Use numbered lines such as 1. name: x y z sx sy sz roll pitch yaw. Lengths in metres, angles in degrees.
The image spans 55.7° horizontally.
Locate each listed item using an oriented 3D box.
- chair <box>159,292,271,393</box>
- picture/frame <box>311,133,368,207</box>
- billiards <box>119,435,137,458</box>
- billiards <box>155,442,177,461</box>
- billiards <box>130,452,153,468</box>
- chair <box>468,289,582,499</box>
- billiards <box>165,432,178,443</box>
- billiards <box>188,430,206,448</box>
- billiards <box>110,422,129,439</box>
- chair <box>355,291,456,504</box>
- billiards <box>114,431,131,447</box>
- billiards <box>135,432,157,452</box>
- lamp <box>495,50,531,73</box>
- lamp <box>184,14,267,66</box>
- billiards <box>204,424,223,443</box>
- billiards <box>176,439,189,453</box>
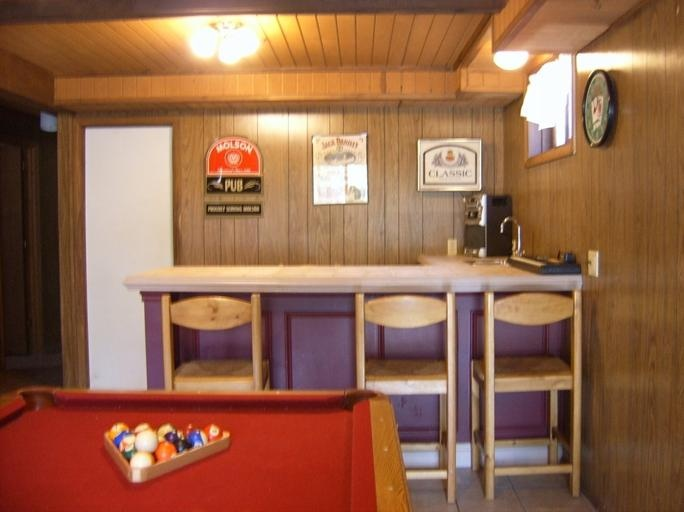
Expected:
1. chair: -0.773 0.491 4.233 0.545 1.074 0.643 0 6 1
2. picture/frame: -0.016 -0.761 5.532 0.531 0.692 0.029 -1 3 4
3. billiards: -0.965 0.845 2.920 0.072 0.104 0.076 13 -23 -35
4. billiards: -0.798 0.866 2.949 0.077 0.083 0.068 -38 18 -29
5. billiards: -0.889 0.901 2.876 0.068 0.071 0.070 -21 -35 34
6. chair: 1.182 0.861 4.163 0.697 1.307 0.535 -1 0 5
7. billiards: -0.786 0.822 2.971 0.036 0.036 0.045 -2 -2 -3
8. billiards: -0.665 0.828 2.962 0.086 0.065 0.034 -1 0 -16
9. billiards: -1.028 0.794 2.985 0.060 0.043 0.063 -1 -1 -3
10. chair: 0.412 0.876 4.126 0.635 1.214 0.562 -1 0 9
11. billiards: -0.988 0.822 2.937 0.057 0.056 0.072 -4 -10 12
12. billiards: -0.884 0.834 2.931 0.080 0.104 0.085 -2 3 7
13. lamp: 1.150 -1.347 4.448 0.219 0.065 0.353 -1 0 13
14. lamp: -0.831 -1.505 4.707 0.530 0.262 0.539 -1 0 13
15. billiards: -0.596 0.812 2.994 0.081 0.063 0.047 -1 0 -11
16. billiards: -0.728 0.857 2.944 0.045 0.046 0.040 -1 -4 31
